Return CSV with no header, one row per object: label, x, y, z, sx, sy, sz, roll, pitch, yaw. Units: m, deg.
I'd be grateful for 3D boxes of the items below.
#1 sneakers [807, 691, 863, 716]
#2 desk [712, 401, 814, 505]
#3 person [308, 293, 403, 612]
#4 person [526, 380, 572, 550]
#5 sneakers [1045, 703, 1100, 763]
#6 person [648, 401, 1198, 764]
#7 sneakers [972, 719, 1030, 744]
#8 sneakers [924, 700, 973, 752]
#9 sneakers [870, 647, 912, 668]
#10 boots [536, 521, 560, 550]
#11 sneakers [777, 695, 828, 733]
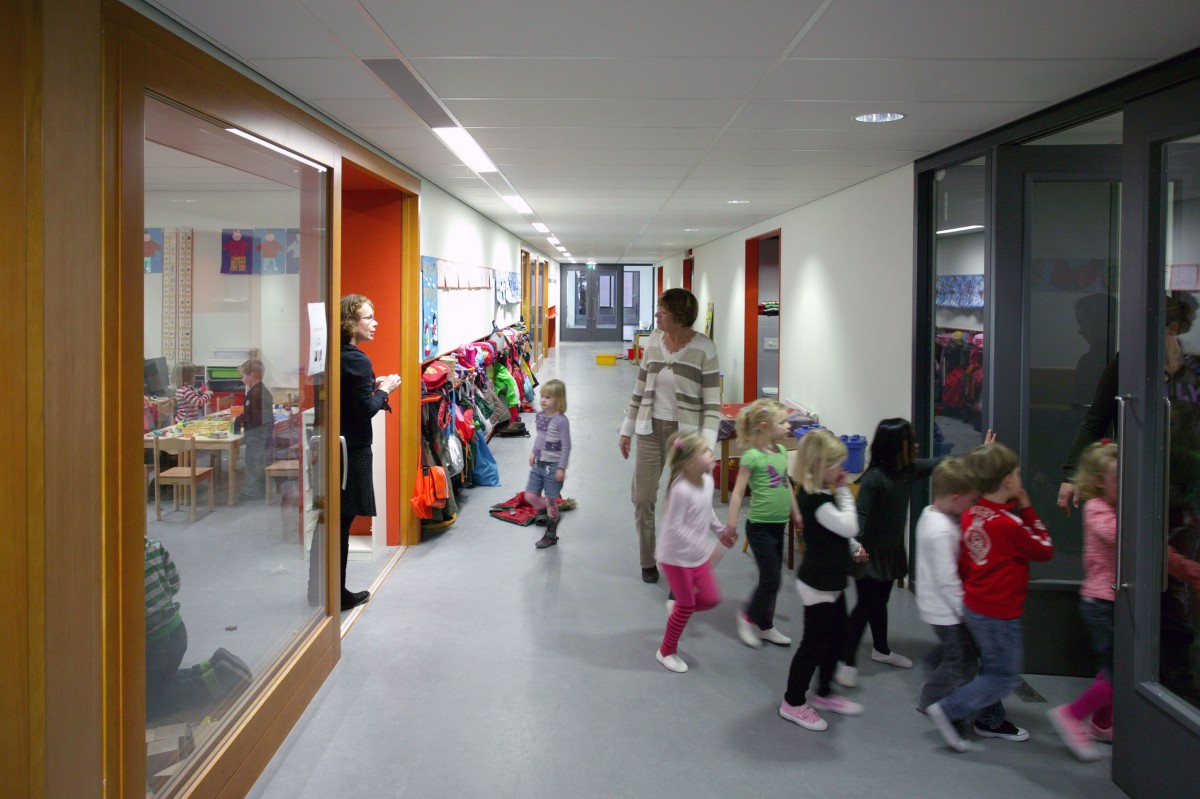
sneakers,1.133,1.460,3.704,0.257,0.102,0.093,-1,1,13
desk,1.428,0.314,6.584,0.877,0.619,1.274,0,6,5
person,-1.413,0.312,4.690,0.373,1.867,1.225,-2,10,-15
person,-0.411,0.444,5.933,0.313,1.272,0.724,0,10,-6
sneakers,2.122,1.465,3.373,0.191,0.194,0.138,1,10,2
person,1.354,0.830,3.545,2.153,1.356,0.595,4,10,18
sneakers,1.831,1.514,3.473,0.245,0.098,0.091,0,0,6
sneakers,1.549,1.456,3.402,0.090,0.251,0.100,-48,-23,27
sneakers,1.557,1.378,4.076,0.161,0.059,0.082,-1,4,19
boots,-0.386,1.034,5.808,0.222,0.211,0.105,1,1,-31
sneakers,0.943,1.458,3.545,0.203,0.080,0.097,5,10,20
